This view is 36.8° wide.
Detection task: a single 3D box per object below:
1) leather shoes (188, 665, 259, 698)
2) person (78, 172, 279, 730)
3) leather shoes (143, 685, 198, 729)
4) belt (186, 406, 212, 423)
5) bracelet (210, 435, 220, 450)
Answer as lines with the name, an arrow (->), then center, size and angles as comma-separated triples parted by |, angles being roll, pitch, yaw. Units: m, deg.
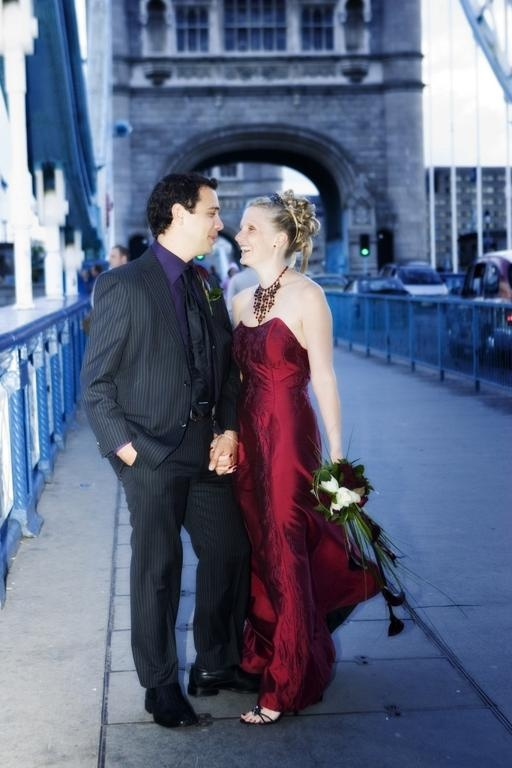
leather shoes -> -0.096, 0.829, 2.245 | 0.190, 0.092, 0.087 | -3, 2, -23
person -> -0.207, 0.172, 2.109 | 0.250, 1.459, 0.577 | -1, 2, 30
leather shoes -> -0.218, 0.833, 1.982 | 0.061, 0.082, 0.185 | -2, -16, -24
belt -> -0.155, 0.084, 2.070 | 0.033, 0.050, 0.048 | -5, -24, 24
bracelet -> -0.112, 0.158, 2.119 | 0.015, 0.013, 0.054 | 9, 39, 13
